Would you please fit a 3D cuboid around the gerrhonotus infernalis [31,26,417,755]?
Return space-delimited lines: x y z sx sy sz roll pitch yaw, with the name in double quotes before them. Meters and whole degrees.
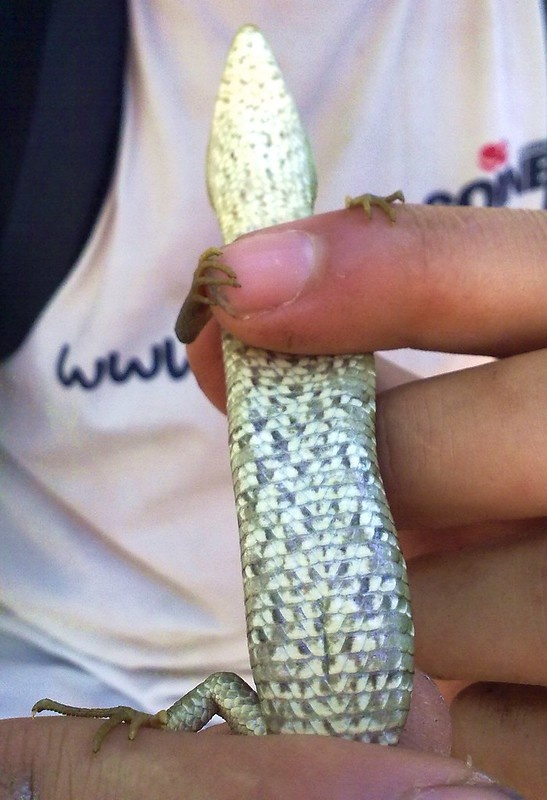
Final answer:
"gerrhonotus infernalis" -0.013 -0.035 0.970 0.498 0.127 0.688 -8 72 20
